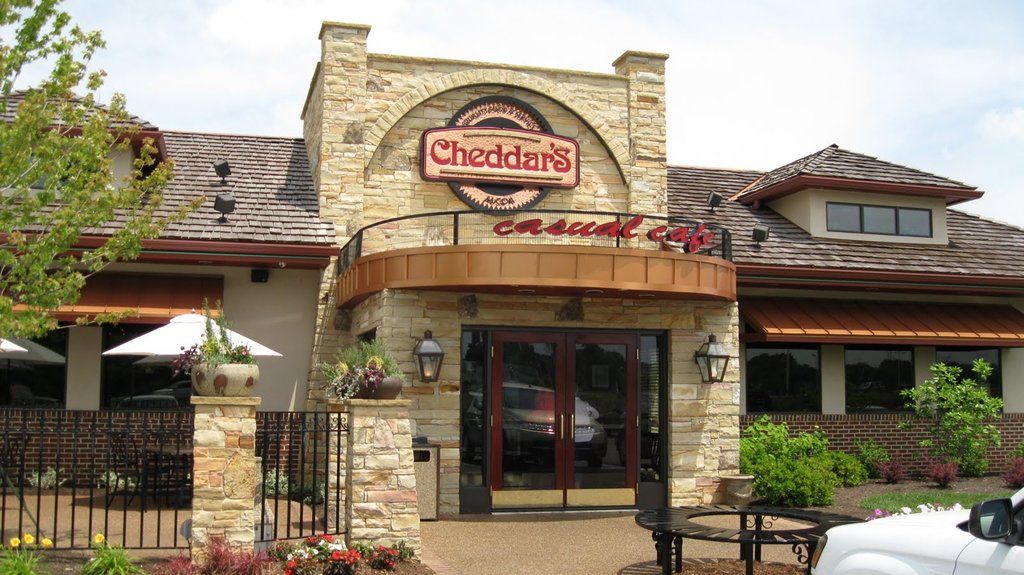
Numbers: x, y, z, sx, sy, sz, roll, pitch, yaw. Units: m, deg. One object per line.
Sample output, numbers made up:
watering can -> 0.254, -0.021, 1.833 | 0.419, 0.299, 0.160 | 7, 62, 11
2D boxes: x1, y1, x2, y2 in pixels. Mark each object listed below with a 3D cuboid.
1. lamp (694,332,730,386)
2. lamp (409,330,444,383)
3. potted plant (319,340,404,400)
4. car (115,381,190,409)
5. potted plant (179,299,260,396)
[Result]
lamp -> 5.891, 2.054, 31.486 | 1.076, 1.449, 0.634 | 1, -12, -4
lamp -> -2.357, 1.913, 30.111 | 0.784, 1.414, 0.700 | 1, -12, -7
potted plant -> -3.643, 2.084, 26.480 | 1.677, 1.054, 1.622 | 1, -8, -8
car -> -10.772, 3.279, 32.489 | 2.333, 0.671, 0.971 | -3, 0, -8
potted plant -> -6.815, 1.477, 25.176 | 1.616, 2.172, 0.717 | -3, -13, 14
